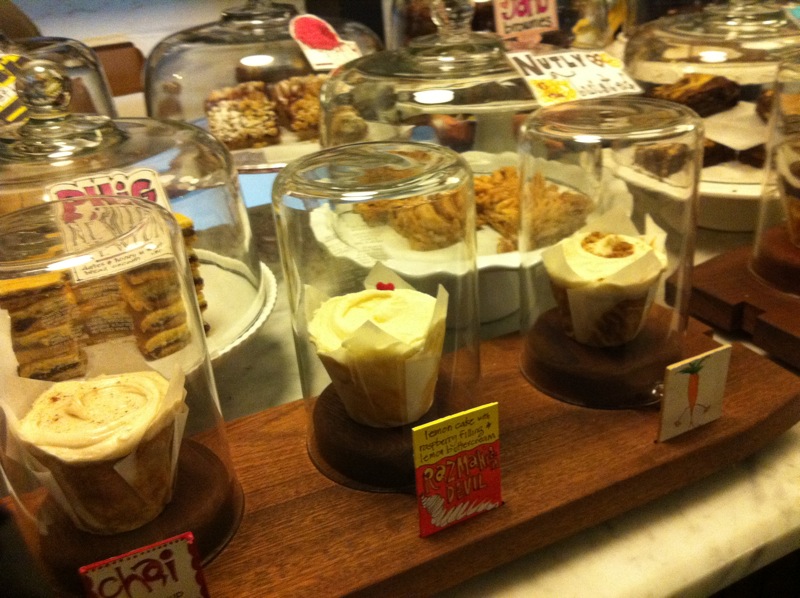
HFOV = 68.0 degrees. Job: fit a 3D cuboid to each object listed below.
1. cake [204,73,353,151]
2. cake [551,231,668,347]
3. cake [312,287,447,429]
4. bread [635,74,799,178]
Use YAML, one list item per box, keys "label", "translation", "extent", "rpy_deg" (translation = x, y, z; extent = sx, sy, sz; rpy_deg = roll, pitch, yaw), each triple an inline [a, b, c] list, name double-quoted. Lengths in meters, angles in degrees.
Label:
- label: "cake"
  translation: [-0.400, -0.572, 2.007]
  extent: [0.557, 0.157, 0.279]
  rpy_deg: [-7, 53, -2]
- label: "cake"
  translation: [0.345, -0.035, 0.997]
  extent: [0.222, 0.157, 0.185]
  rpy_deg: [-10, 31, -1]
- label: "cake"
  translation: [-0.028, 0.064, 0.867]
  extent: [0.241, 0.174, 0.208]
  rpy_deg: [1, 22, 15]
- label: "bread"
  translation: [0.727, -0.441, 1.446]
  extent: [0.300, 0.192, 0.246]
  rpy_deg: [7, 31, 23]
